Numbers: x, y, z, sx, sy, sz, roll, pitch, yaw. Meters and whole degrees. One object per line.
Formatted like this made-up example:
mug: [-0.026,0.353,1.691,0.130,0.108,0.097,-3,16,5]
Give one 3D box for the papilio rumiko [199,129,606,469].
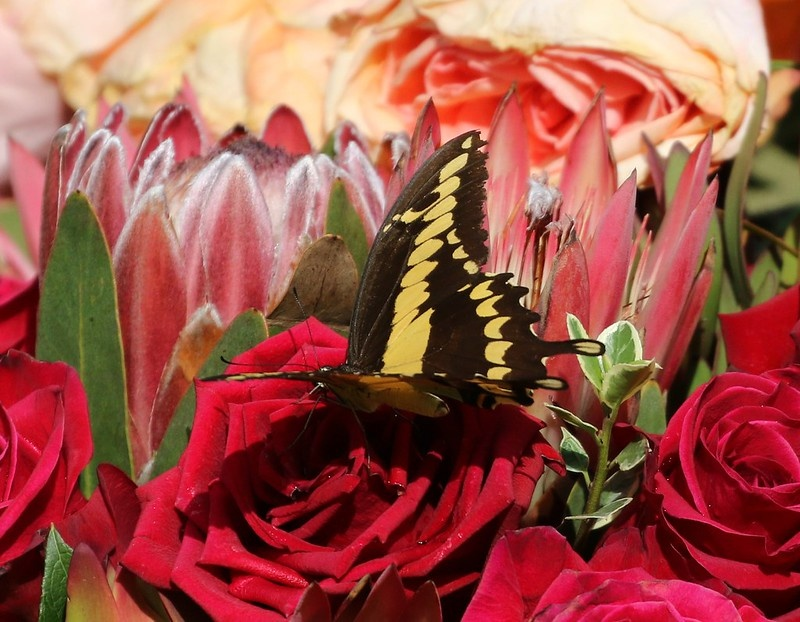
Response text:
papilio rumiko: [0.009,-0.010,0.713,0.170,0.154,0.265,-13,39,25]
